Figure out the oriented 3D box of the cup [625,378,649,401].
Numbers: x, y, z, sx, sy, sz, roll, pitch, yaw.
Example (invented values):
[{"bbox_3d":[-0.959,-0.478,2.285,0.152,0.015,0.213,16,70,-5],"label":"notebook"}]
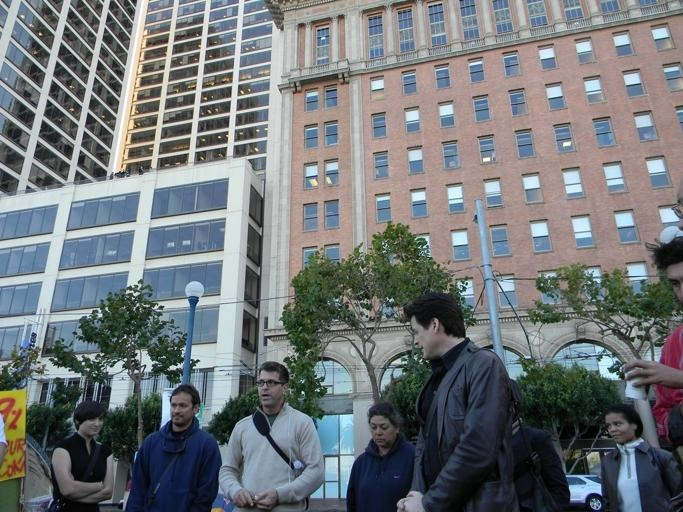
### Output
[{"bbox_3d":[2.570,1.183,4.713,0.189,0.206,0.193,9,-24,4],"label":"cup"}]
